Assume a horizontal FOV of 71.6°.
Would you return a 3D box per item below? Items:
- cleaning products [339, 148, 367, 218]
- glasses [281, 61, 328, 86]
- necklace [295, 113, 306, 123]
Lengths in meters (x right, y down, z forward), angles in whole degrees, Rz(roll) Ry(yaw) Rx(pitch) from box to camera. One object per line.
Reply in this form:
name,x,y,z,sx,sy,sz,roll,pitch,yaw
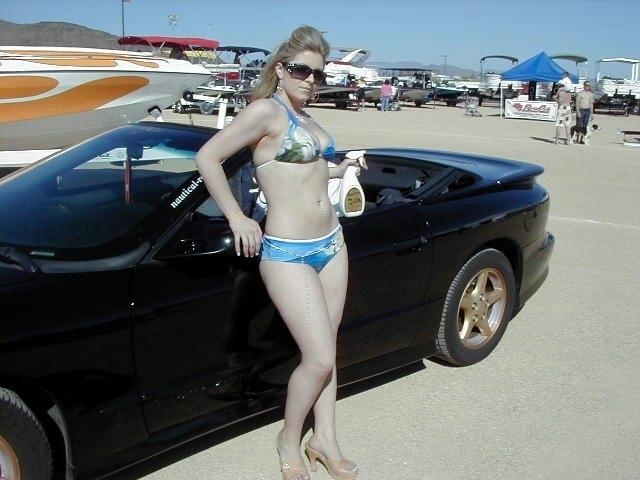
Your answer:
cleaning products,0.118,-0.286,2.259,0.241,0.293,0.183,4,20,-10
glasses,-0.039,-0.700,1.867,0.219,0.083,0.116,-10,22,-34
necklace,-0.084,-0.509,1.849,0.037,0.012,0.050,3,35,-37
